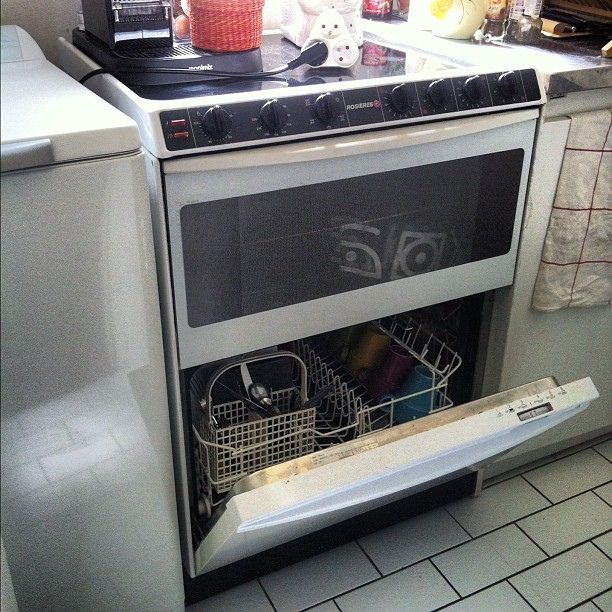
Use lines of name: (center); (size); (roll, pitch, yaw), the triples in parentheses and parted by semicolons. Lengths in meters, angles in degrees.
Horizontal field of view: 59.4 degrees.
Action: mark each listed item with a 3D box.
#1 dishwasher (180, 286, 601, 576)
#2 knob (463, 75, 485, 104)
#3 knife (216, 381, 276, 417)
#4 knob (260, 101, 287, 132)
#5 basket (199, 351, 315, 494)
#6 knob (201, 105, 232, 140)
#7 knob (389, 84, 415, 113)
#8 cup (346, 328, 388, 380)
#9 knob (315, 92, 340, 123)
dishwasher: (0.074, 0.249, 1.346); (0.649, 0.556, 0.901); (-15, 41, -19)
knob: (0.325, -0.417, 1.037); (0.037, 0.050, 0.013); (-16, 14, -20)
knife: (-0.130, 0.200, 1.167); (0.191, 0.030, 0.010); (29, 6, 23)
knob: (-0.054, -0.306, 0.867); (0.039, 0.045, 0.015); (-6, 12, -12)
basket: (-0.103, 0.242, 1.182); (0.266, 0.293, 0.162); (-10, 21, -20)
knob: (-0.137, -0.280, 0.828); (0.047, 0.049, 0.012); (-14, 16, -19)
knob: (0.174, -0.375, 0.974); (0.039, 0.052, 0.012); (-6, 6, -15)
cup: (0.191, 0.142, 1.499); (0.143, 0.145, 0.087); (-7, 8, 43)
knob: (0.034, -0.335, 0.910); (0.040, 0.052, 0.018); (-8, 16, -14)
